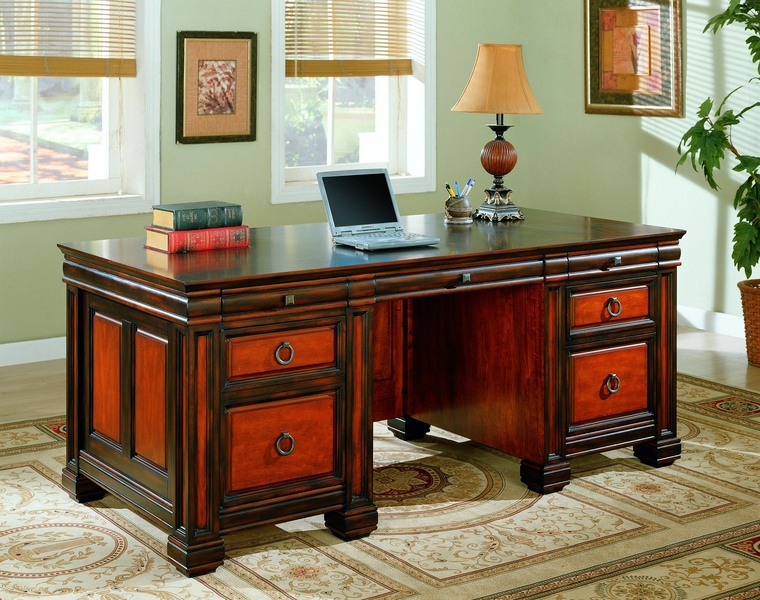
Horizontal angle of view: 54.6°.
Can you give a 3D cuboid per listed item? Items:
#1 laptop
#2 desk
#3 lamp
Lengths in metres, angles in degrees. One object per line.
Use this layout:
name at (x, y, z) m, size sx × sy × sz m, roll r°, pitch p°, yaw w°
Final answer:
laptop at (-0.032, -0.379, 2.708) m, size 0.375 × 0.248 × 0.390 m, roll -13°, pitch 22°, yaw -39°
desk at (0.028, 0.238, 3.063) m, size 2.257 × 0.801 × 1.054 m, roll -5°, pitch 7°, yaw -36°
lamp at (0.520, -0.754, 3.328) m, size 0.364 × 0.787 × 0.402 m, roll 2°, pitch 12°, yaw 7°
